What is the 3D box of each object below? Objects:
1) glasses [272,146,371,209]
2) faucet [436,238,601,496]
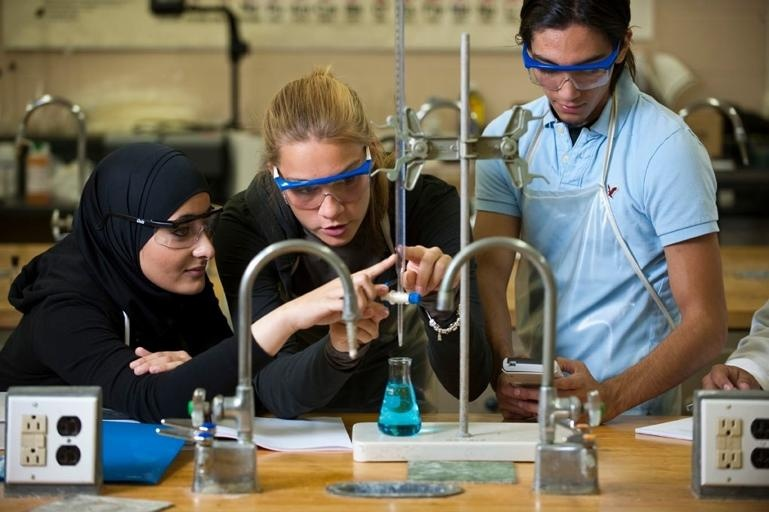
[{"bbox_3d":[-0.189,-0.239,2.541,0.301,0.181,0.149,-5,11,-8],"label":"glasses"},{"bbox_3d":[0.355,0.278,2.114,0.390,0.673,0.230,-2,12,8],"label":"faucet"}]
